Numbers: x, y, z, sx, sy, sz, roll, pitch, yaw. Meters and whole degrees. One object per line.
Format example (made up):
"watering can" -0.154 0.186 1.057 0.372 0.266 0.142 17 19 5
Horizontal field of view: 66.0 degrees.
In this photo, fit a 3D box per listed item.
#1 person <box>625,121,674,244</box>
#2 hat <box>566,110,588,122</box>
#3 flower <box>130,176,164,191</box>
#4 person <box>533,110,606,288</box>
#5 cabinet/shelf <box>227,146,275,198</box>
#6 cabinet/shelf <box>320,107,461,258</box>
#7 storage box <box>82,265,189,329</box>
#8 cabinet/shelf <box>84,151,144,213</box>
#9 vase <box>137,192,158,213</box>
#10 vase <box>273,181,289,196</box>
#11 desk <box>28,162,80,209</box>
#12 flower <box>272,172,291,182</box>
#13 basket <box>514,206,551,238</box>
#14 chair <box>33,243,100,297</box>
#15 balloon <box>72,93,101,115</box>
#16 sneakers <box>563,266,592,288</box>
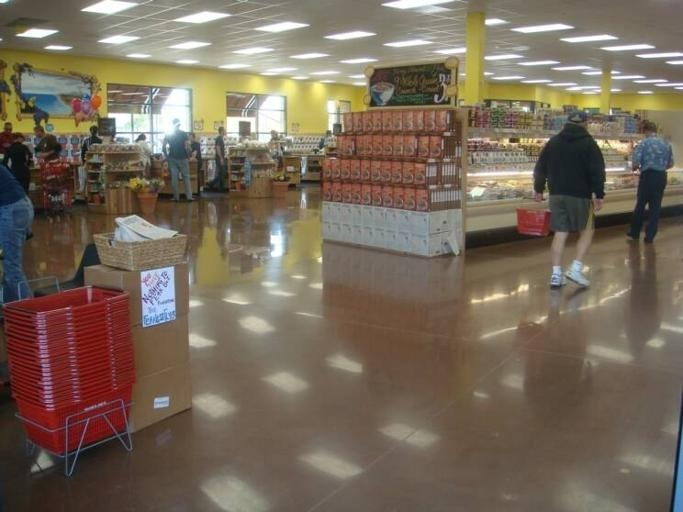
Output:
"person" 5.190 -1.282 8.846 0.582 1.934 1.307 6 13 29
"hat" 2.621 -1.542 5.815 0.159 0.120 0.269 8 15 31
"flower" -4.153 -1.527 11.164 0.412 0.199 0.386 3 7 30
"person" 2.533 -0.638 5.876 0.735 1.908 0.493 5 12 24
"cabinet/shelf" -2.613 -2.373 15.131 1.702 1.859 1.298 1 3 9
"cabinet/shelf" 0.703 -1.129 7.934 1.939 2.051 0.650 10 7 40
"storage box" -1.176 0.199 3.191 0.327 0.347 0.439 8 10 36
"cabinet/shelf" -5.121 -1.749 11.780 1.273 1.521 1.361 1 10 5
"vase" -4.177 -1.161 11.323 0.403 0.485 0.423 0 2 4
"vase" -1.690 -1.915 14.672 0.368 0.322 0.381 0 6 -10
"desk" -6.203 -1.633 11.364 0.880 1.057 0.897 19 23 31
"flower" -1.716 -2.227 14.696 0.380 0.206 0.484 -3 13 -16
"basket" 2.389 -0.440 6.584 0.576 0.474 0.337 4 3 40
"chair" -2.658 0.124 5.031 0.601 0.759 0.405 0 3 -34
"balloon" -7.556 -4.575 15.603 0.863 0.586 0.432 3 0 34
"sneakers" 2.708 0.238 6.038 0.240 0.184 0.096 29 -2 -23
